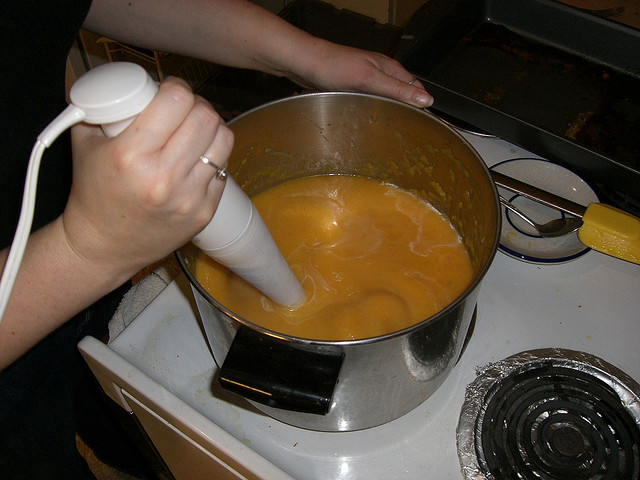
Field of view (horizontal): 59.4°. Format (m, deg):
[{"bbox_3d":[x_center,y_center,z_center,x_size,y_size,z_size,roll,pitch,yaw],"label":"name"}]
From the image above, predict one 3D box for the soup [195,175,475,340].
[{"bbox_3d":[0.031,-0.003,1.235,0.471,0.340,0.577,-7,26,-28],"label":"soup"}]
